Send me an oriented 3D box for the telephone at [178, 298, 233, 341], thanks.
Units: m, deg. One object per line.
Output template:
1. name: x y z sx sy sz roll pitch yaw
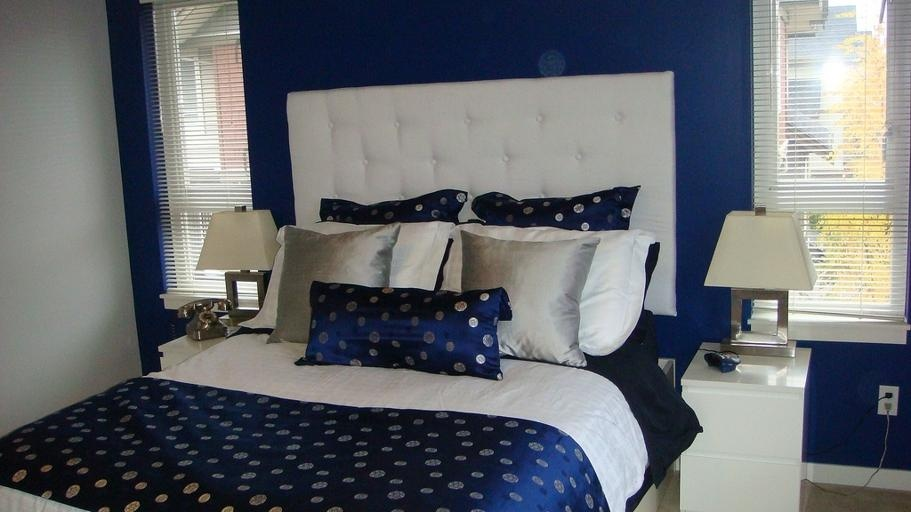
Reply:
1. telephone: -1.769 0.440 4.817 0.384 0.256 0.230 -10 19 -34

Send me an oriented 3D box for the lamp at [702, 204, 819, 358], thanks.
1. lamp: 1.857 0.162 4.118 0.602 0.919 0.332 2 8 20

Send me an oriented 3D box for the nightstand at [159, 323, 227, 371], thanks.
1. nightstand: -1.837 0.590 4.712 0.444 0.254 0.242 3 13 31
